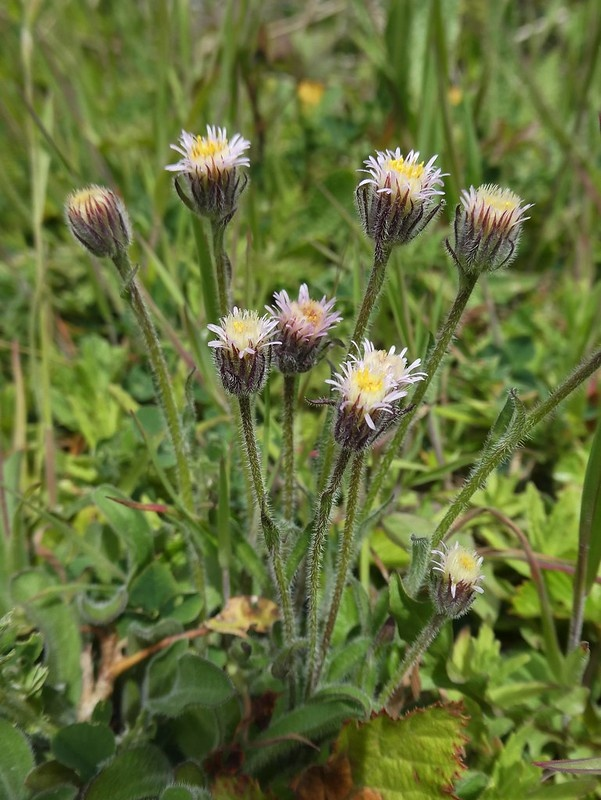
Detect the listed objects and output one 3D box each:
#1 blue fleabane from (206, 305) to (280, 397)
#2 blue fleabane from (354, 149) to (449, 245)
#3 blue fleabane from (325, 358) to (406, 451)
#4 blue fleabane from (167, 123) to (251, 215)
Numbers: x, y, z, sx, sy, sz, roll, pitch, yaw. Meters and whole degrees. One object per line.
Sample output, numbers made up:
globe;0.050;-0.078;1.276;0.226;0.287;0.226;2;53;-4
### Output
blue fleabane;-0.065;-0.058;0.968;0.099;0.115;0.098;-11;25;-21
blue fleabane;0.124;-0.242;0.962;0.085;0.090;0.103;-1;89;-3
blue fleabane;0.071;0.011;0.887;0.074;0.068;0.084;11;81;-15
blue fleabane;-0.113;-0.305;1.000;0.092;0.086;0.098;0;66;3
